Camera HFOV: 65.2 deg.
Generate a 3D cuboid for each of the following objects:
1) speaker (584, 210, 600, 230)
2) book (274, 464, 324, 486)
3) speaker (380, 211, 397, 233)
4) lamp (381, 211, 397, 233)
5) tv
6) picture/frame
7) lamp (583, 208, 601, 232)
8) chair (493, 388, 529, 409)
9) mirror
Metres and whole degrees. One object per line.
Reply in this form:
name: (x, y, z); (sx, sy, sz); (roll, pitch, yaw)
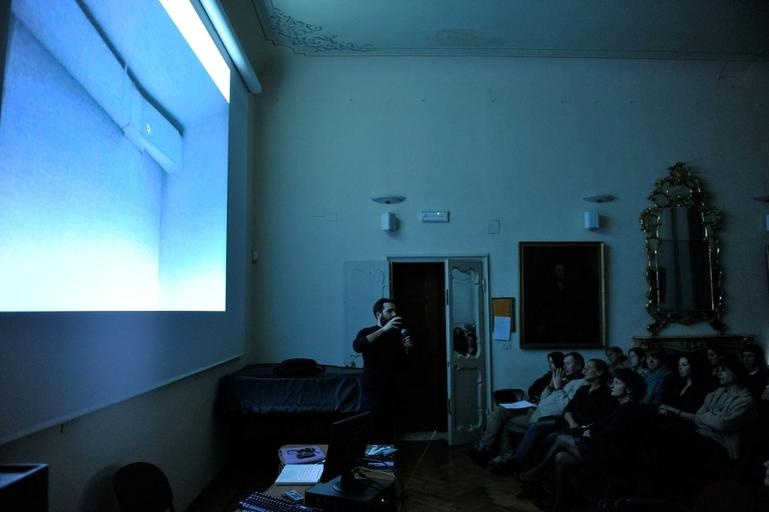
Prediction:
speaker: (3.083, -0.524, 9.018); (0.273, 0.278, 0.254); (2, -14, 0)
book: (-0.733, 1.913, 5.264); (0.326, 0.048, 0.350); (2, -1, 1)
speaker: (0.065, -0.502, 8.892); (0.282, 0.349, 0.268); (1, -4, 11)
lamp: (0.056, -0.492, 8.888); (0.281, 0.351, 0.272); (0, -5, 12)
tv: (-0.289, 1.618, 4.971); (0.234, 0.576, 0.637); (1, -3, 26)
picture/frame: (2.664, 0.593, 9.029); (1.452, 1.601, 0.078); (0, -1, -14)
lamp: (3.092, -0.531, 8.994); (0.289, 0.305, 0.278); (0, -14, 4)
chair: (1.799, 2.001, 8.477); (0.323, 0.363, 0.335); (-1, -13, 0)
mirror: (4.521, -0.120, 9.150); (1.288, 2.603, 0.156); (0, -6, -7)
